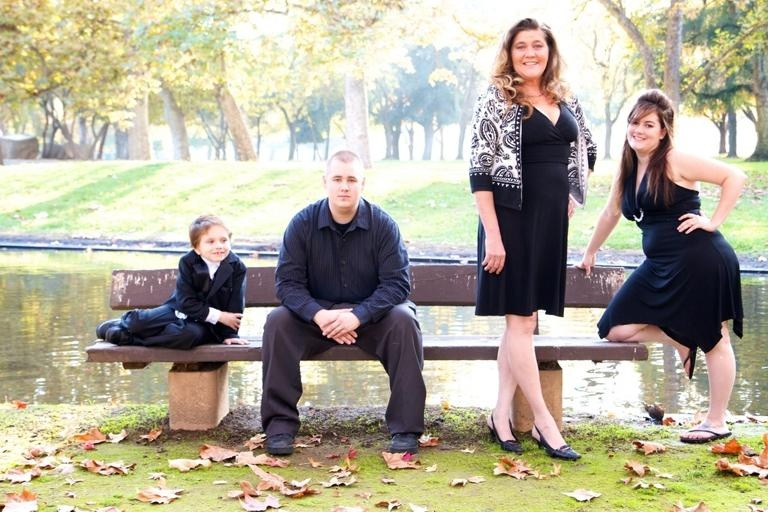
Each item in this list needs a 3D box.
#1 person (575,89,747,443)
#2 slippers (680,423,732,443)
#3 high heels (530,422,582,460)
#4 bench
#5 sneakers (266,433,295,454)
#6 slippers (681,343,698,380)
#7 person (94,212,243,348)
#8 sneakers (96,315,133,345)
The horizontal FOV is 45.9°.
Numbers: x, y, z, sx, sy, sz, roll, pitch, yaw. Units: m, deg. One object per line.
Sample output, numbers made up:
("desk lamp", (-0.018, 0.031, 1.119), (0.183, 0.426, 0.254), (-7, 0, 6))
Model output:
("person", (2.823, 0.089, 9.005), (1.404, 3.412, 0.839), (4, 13, 19))
("slippers", (3.136, 1.742, 8.912), (0.465, 0.107, 0.191), (2, -6, -10))
("high heels", (1.605, 1.815, 8.795), (0.565, 0.217, 0.204), (6, 4, 42))
("bench", (-0.208, 0.959, 9.436), (5.587, 1.460, 1.392), (0, 9, -5))
("sneakers", (-1.013, 1.802, 8.711), (0.295, 0.186, 0.190), (-4, 12, -17))
("slippers", (3.018, 1.052, 9.007), (0.103, 0.392, 0.148), (1, 3, 38))
("person", (-2.149, 0.291, 9.232), (1.540, 1.291, 0.893), (3, -1, -16))
("sneakers", (-2.797, 0.749, 9.159), (0.500, 0.162, 0.217), (8, 12, 40))
